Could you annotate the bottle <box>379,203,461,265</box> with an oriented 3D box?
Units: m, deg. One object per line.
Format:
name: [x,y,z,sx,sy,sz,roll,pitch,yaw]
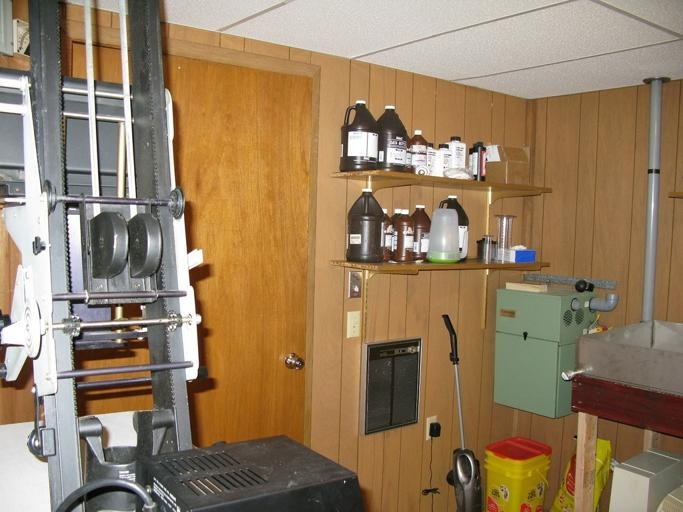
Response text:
bottle: [0.421,-0.093,3.150,0.398,0.308,0.236,7,-10,-31]

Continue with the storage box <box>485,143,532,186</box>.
storage box: [0.995,-0.524,3.574,0.237,0.237,0.171,-2,8,-38]

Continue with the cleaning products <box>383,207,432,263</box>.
cleaning products: [0.342,-0.094,3.127,0.255,0.362,0.198,7,-7,-39]

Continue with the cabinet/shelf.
cabinet/shelf: [0.569,-0.162,3.293,1.319,0.505,0.341,2,7,-19]
